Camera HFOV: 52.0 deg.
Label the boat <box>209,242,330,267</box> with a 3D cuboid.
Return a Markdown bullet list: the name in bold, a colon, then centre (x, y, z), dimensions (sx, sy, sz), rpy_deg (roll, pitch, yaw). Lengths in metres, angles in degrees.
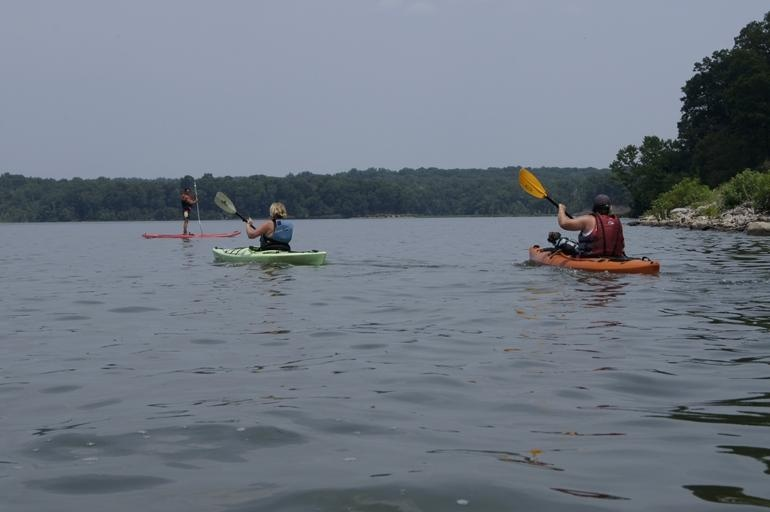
- **boat**: centre (-2.870, 0.001, 19.086), dimensions (1.170, 0.440, 2.866), rpy_deg (-3, 3, -43)

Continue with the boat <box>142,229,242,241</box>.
- **boat**: centre (-8.986, -0.938, 37.184), dimensions (2.879, 0.261, 4.633), rpy_deg (-2, 3, -34)

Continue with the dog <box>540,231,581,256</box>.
- **dog**: centre (3.877, -0.194, 16.920), dimensions (0.714, 0.275, 0.526), rpy_deg (25, 20, 31)

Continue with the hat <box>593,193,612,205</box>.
- **hat**: centre (4.328, -1.089, 15.467), dimensions (0.432, 0.264, 0.594), rpy_deg (3, 5, 23)

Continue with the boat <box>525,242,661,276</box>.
- **boat**: centre (3.945, 0.121, 16.127), dimensions (0.914, 0.434, 2.968), rpy_deg (-1, 4, -41)
